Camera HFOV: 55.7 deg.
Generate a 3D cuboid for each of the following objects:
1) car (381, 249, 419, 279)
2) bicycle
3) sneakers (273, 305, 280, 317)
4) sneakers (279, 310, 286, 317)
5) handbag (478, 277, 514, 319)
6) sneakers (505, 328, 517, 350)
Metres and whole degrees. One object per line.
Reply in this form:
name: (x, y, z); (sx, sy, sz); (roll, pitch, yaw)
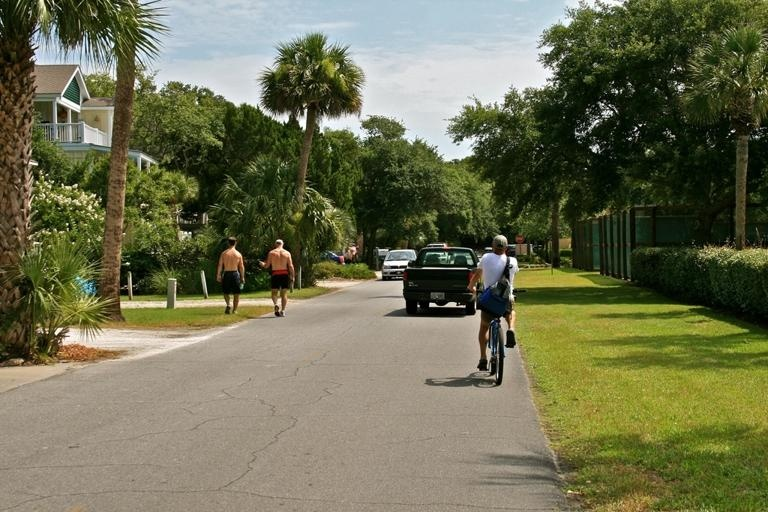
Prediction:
car: (0.847, 0.444, 41.773); (1.880, 1.701, 4.197); (-1, -5, 4)
bicycle: (1.995, 1.620, 13.163); (0.808, 1.047, 1.682); (1, -2, 2)
sneakers: (-3.384, 1.718, 22.931); (0.155, 0.438, 0.181); (-16, 43, -7)
sneakers: (-3.234, 1.817, 23.049); (0.150, 0.201, 0.459); (0, -6, -3)
handbag: (1.957, 0.729, 12.731); (0.469, 0.641, 0.343); (35, 4, -13)
sneakers: (2.189, 1.426, 12.616); (0.152, 0.477, 0.201); (-3, 2, 16)
